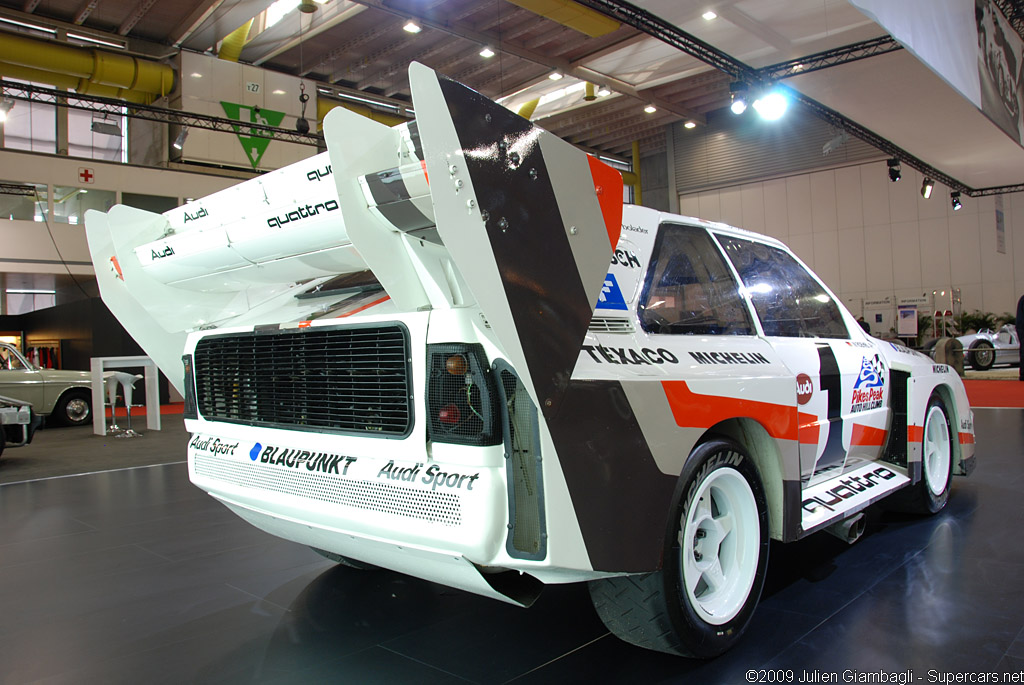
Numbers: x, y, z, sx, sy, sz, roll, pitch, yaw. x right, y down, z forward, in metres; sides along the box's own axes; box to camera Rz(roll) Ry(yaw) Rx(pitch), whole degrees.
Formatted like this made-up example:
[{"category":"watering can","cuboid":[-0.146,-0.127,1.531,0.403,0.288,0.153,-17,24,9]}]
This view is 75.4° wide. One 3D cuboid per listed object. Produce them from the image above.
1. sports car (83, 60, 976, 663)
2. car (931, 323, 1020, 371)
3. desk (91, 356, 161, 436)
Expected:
[{"category":"sports car","cuboid":[0.766,0.235,4.633,4.903,2.224,2.901,-1,0,-43]},{"category":"car","cuboid":[13.618,0.192,19.215,2.236,0.856,1.520,-3,-2,-17]},{"category":"desk","cuboid":[-7.181,1.019,12.308,1.420,1.797,0.490,1,-5,-36]}]
